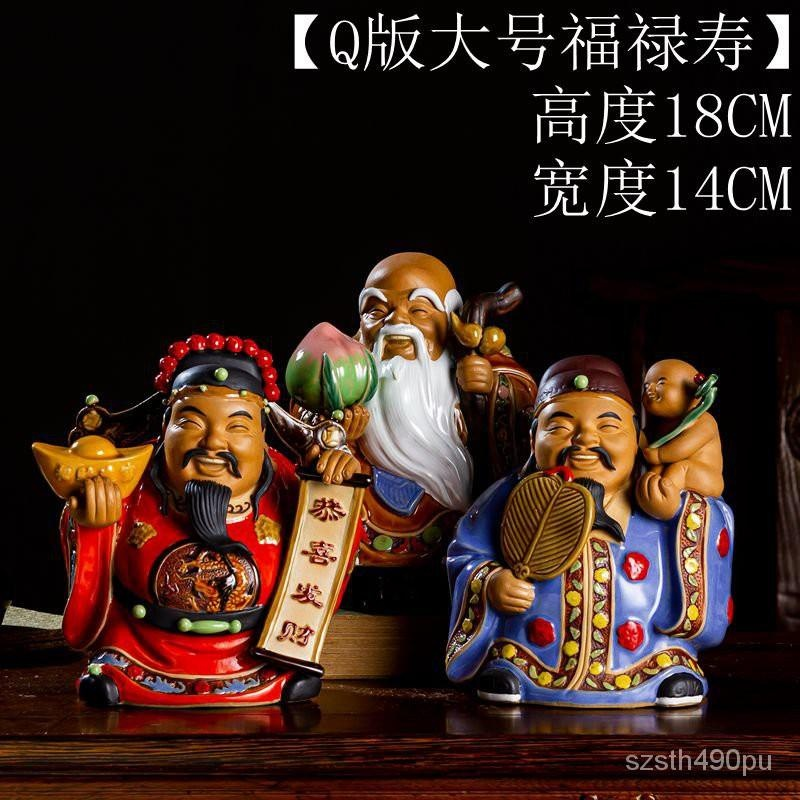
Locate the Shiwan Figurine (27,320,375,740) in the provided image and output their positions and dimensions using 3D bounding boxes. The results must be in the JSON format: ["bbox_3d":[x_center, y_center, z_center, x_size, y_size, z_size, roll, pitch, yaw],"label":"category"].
[{"bbox_3d":[-0.462,0.243,2.871,0.747,0.922,0.304,6,-7,-2],"label":"Shiwan Figurine"}]
